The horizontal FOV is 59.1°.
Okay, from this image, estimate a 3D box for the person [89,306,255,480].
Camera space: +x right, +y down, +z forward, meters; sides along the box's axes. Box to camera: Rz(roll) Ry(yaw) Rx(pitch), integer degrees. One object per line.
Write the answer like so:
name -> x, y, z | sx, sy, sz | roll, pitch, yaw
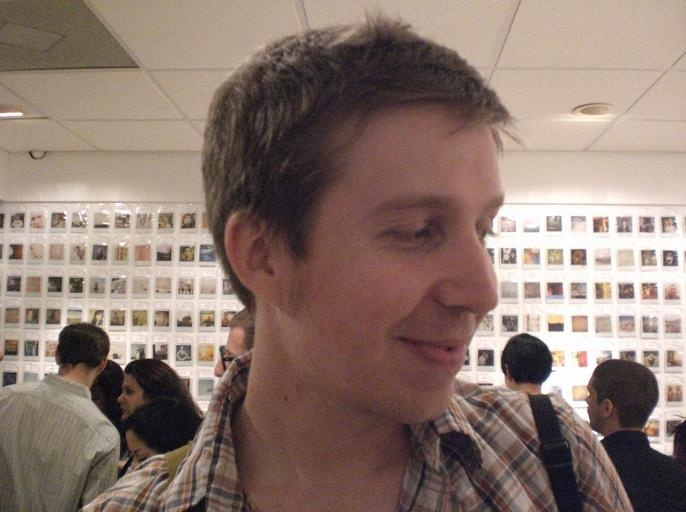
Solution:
person -> -0.926, 0.887, 3.741 | 0.825, 0.328, 1.220 | -25, 4, 12
